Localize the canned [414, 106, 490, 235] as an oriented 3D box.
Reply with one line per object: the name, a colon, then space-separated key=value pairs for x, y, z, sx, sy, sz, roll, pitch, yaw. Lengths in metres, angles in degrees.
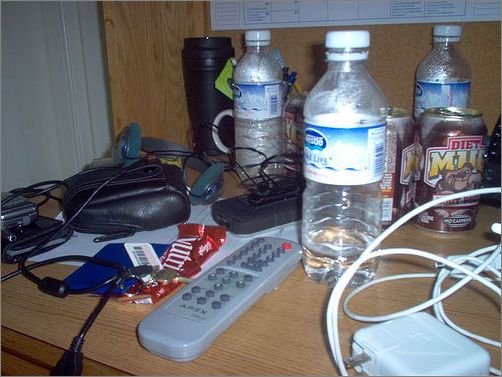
canned: x=0.374 y=-0.028 z=0.895 sx=0.124 sy=0.249 sz=0.129 roll=0 pitch=21 yaw=-10

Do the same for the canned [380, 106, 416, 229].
canned: x=0.272 y=-0.039 z=0.881 sx=0.067 sy=0.229 sz=0.068 roll=-10 pitch=29 yaw=-26

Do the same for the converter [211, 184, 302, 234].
converter: x=0.014 y=0.036 z=0.910 sx=0.150 sy=0.029 sz=0.091 roll=-11 pitch=22 yaw=-31

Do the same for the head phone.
head phone: x=-0.159 y=-0.033 z=1.001 sx=0.283 sy=0.191 sz=0.088 roll=-9 pitch=45 yaw=-6

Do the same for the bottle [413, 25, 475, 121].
bottle: x=0.474 y=-0.259 z=1.101 sx=0.121 sy=0.277 sz=0.113 roll=-5 pitch=34 yaw=3

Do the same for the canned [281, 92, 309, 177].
canned: x=0.104 y=-0.127 z=1.075 sx=0.058 sy=0.191 sz=0.062 roll=-23 pitch=33 yaw=-37

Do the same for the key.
key: x=-0.158 y=0.140 z=0.770 sx=0.113 sy=0.037 sz=0.091 roll=15 pitch=18 yaw=43

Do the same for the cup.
cup: x=-0.079 y=-0.264 z=1.313 sx=0.159 sy=0.311 sz=0.166 roll=-2 pitch=17 yaw=1
